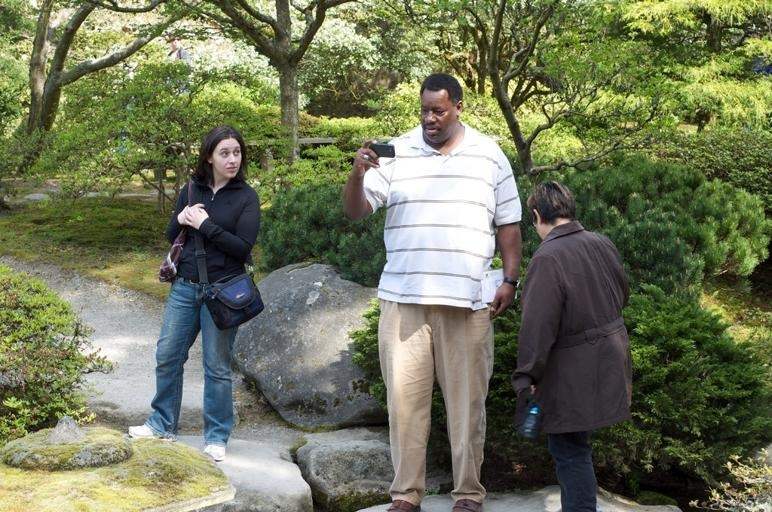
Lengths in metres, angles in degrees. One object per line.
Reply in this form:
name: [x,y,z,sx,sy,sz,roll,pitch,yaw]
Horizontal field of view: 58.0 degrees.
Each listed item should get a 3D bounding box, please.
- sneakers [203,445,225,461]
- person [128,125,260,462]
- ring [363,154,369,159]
sneakers: [-1.427,1.635,5.829,0.201,0.103,0.175,2,1,-25]
person: [-1.508,0.298,5.892,0.922,2.039,0.417,3,1,10]
ring: [-0.159,-0.765,5.373,0.040,0.038,0.011,5,-1,-8]
